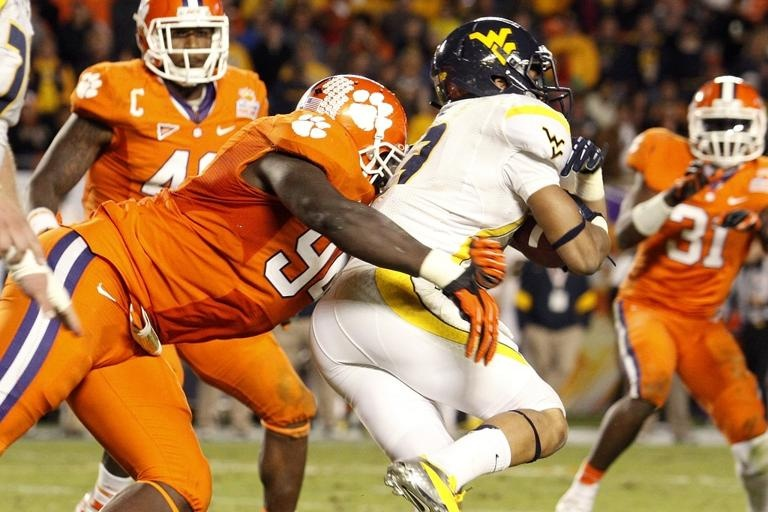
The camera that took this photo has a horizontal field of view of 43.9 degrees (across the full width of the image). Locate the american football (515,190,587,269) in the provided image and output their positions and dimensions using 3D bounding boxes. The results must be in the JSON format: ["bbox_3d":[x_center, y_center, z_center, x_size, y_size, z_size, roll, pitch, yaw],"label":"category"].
[{"bbox_3d":[0.691,-0.098,3.775,0.315,0.236,0.132,35,64,10],"label":"american football"}]

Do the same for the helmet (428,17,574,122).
[{"bbox_3d":[0.522,-0.816,4.227,0.628,0.479,0.444,1,3,-10],"label":"helmet"}]

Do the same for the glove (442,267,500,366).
[{"bbox_3d":[0.330,0.222,3.656,0.251,0.411,0.130,3,18,-11],"label":"glove"}]

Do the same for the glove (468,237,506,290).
[{"bbox_3d":[0.396,0.022,3.640,0.146,0.180,0.181,9,18,7],"label":"glove"}]

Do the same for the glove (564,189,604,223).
[{"bbox_3d":[0.819,-0.184,3.882,0.154,0.059,0.112,37,6,-15],"label":"glove"}]

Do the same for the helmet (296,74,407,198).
[{"bbox_3d":[-0.089,-0.516,4.039,0.482,0.477,0.379,12,6,-23],"label":"helmet"}]
